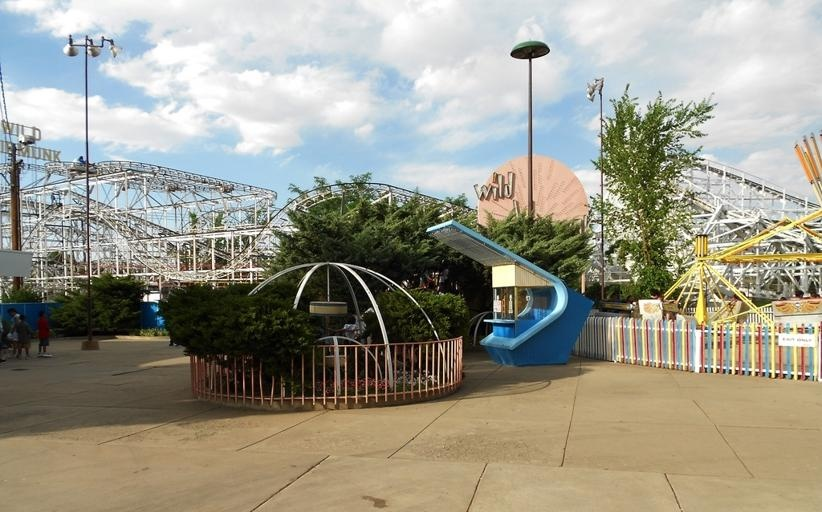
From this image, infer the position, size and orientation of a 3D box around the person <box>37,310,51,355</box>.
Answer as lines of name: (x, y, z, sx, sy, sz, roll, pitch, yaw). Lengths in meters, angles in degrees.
person: (-13.198, 2.777, 23.672, 0.343, 1.598, 0.831, -5, 8, -30)
